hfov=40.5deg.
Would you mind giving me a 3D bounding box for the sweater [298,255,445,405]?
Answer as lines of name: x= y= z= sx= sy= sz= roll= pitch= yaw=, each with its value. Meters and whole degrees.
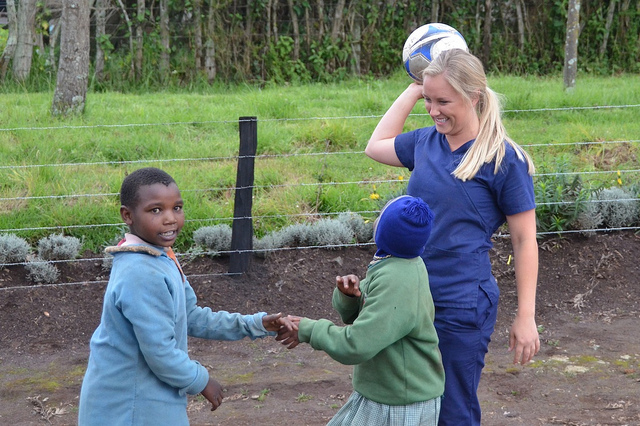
sweater: x=0.556 y=1.138 z=8.905 sx=1.351 sy=1.372 sz=1.173 roll=3 pitch=-1 yaw=7
